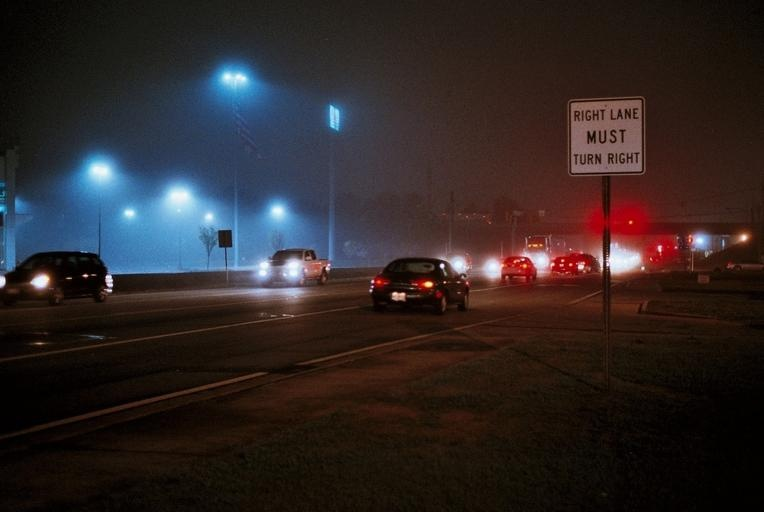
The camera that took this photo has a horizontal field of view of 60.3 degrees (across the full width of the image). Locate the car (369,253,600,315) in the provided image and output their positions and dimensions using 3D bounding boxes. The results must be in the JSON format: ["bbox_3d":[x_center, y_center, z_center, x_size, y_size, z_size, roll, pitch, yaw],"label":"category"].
[{"bbox_3d":[1.210,0.989,21.915,3.129,1.874,1.848,-2,-2,-5],"label":"car"}]
